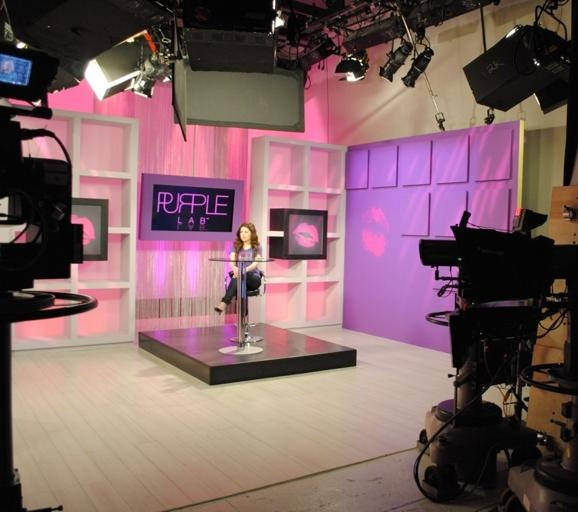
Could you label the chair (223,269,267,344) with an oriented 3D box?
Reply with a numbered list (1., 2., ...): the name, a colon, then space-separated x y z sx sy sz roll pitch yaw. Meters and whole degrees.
1. chair: -0.570 0.460 5.288 0.511 0.847 0.436 9 -17 -36
